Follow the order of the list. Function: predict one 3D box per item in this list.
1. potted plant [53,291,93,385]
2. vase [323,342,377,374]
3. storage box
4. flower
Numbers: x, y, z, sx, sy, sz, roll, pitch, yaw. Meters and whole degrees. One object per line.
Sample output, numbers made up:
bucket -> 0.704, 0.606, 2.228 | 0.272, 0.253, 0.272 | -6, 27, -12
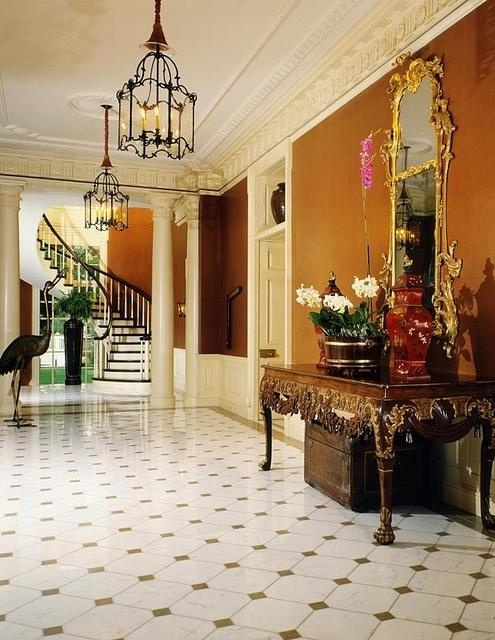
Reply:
potted plant -> -4.088, 0.398, 12.245 | 0.763, 2.246, 0.400 | 1, -3, -13
vase -> 0.710, 0.243, 3.561 | 0.244, 0.160, 0.236 | 1, -1, 0
storage box -> 0.880, 1.045, 3.955 | 0.654, 0.549, 0.941 | 1, -6, -16
flower -> 0.650, -0.044, 3.802 | 0.495, 0.418, 0.554 | -2, -2, -30
